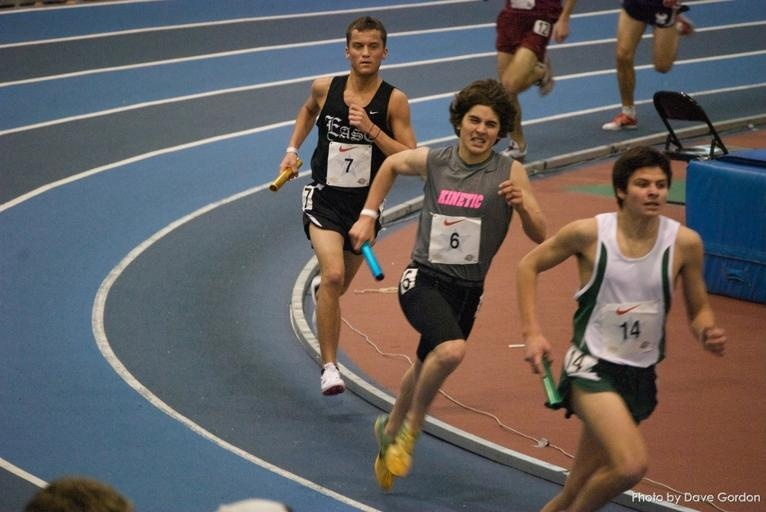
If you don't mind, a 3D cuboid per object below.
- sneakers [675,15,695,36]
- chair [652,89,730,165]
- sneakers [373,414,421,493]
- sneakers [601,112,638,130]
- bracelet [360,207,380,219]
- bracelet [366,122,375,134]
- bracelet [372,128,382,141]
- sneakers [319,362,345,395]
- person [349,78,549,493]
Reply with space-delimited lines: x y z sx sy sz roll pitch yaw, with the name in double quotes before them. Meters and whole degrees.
"sneakers" 3.971 -3.083 8.476 0.300 0.088 0.214 47 -6 38
"chair" 3.543 -1.489 7.288 0.988 0.831 0.848 0 14 -3
"sneakers" 0.056 1.144 3.840 0.173 0.200 0.472 34 17 -32
"sneakers" 3.409 -1.992 9.456 0.578 0.254 0.213 -2 11 -6
"bracelet" -0.086 -0.271 4.110 0.076 0.031 0.077 11 -9 43
"bracelet" -0.094 -0.901 4.509 0.052 0.063 0.050 2 7 -14
"bracelet" -0.048 -0.860 4.518 0.063 0.079 0.028 19 -8 -20
"sneakers" -0.341 0.809 4.161 0.128 0.210 0.151 -2 2 -12
"person" 0.428 0.154 3.714 1.020 2.363 0.447 -2 2 -3
